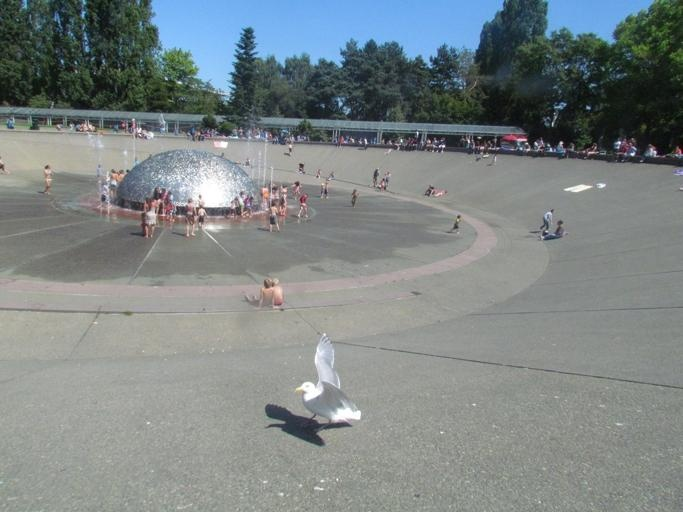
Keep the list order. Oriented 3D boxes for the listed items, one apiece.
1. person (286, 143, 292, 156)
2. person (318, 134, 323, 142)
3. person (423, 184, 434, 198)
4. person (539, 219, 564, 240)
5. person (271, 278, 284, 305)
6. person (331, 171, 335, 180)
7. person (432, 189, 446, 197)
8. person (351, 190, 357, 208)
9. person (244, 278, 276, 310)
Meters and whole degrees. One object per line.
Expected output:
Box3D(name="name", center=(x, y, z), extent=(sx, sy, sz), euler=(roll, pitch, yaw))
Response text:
Box3D(name="person", center=(-5.352, -11.168, 57.524), extent=(0.689, 1.255, 2.156), euler=(2, 14, -5))
Box3D(name="person", center=(-2.272, -14.265, 66.323), extent=(0.674, 0.784, 0.667), euler=(-7, 6, -12))
Box3D(name="person", center=(6.926, -5.129, 43.094), extent=(0.715, 0.771, 1.180), euler=(2, 14, -7))
Box3D(name="person", center=(10.752, -1.311, 28.043), extent=(0.859, 0.933, 1.361), euler=(-16, 11, -43))
Box3D(name="person", center=(-1.931, 1.100, 17.084), extent=(0.286, 0.963, 0.595), euler=(10, 15, 28))
Box3D(name="person", center=(-0.710, -7.304, 49.848), extent=(0.295, 0.558, 0.928), euler=(-1, 23, -4))
Box3D(name="person", center=(7.743, -5.000, 43.250), extent=(0.930, 0.440, 1.764), euler=(6, 15, 9))
Box3D(name="person", center=(0.855, -3.790, 35.445), extent=(0.499, 0.651, 0.993), euler=(2, 13, 1))
Box3D(name="person", center=(-2.487, 1.038, 17.249), extent=(0.648, 0.948, 1.374), euler=(-7, 18, -38))
